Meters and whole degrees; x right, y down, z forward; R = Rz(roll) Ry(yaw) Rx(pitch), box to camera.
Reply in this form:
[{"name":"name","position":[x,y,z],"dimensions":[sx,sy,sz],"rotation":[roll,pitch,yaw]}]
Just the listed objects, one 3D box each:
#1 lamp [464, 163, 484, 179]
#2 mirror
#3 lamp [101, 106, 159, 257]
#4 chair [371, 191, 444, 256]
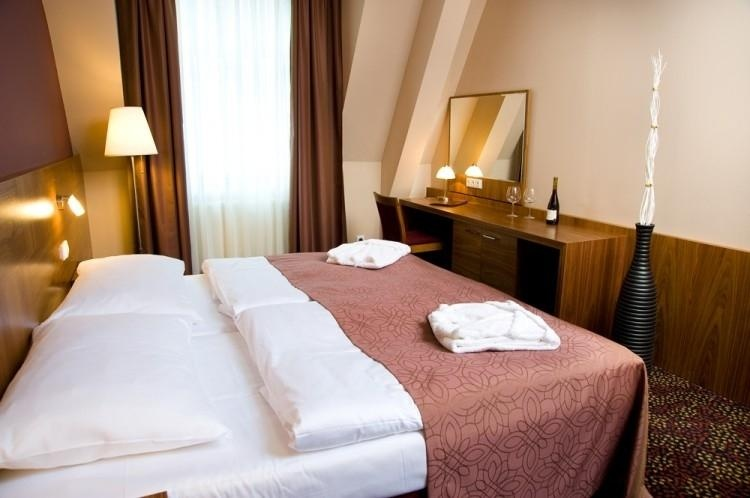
[{"name":"lamp","position":[0.931,-0.731,4.832],"dimensions":[0.110,0.127,0.178],"rotation":[-9,17,-32]},{"name":"mirror","position":[1.032,-1.023,4.612],"dimensions":[0.062,0.867,0.809],"rotation":[-10,18,-28]},{"name":"lamp","position":[-2.003,-0.536,4.259],"dimensions":[0.377,1.259,0.468],"rotation":[-8,19,-27]},{"name":"chair","position":[0.292,-0.304,5.016],"dimensions":[0.607,0.951,0.517],"rotation":[-6,21,-13]}]
